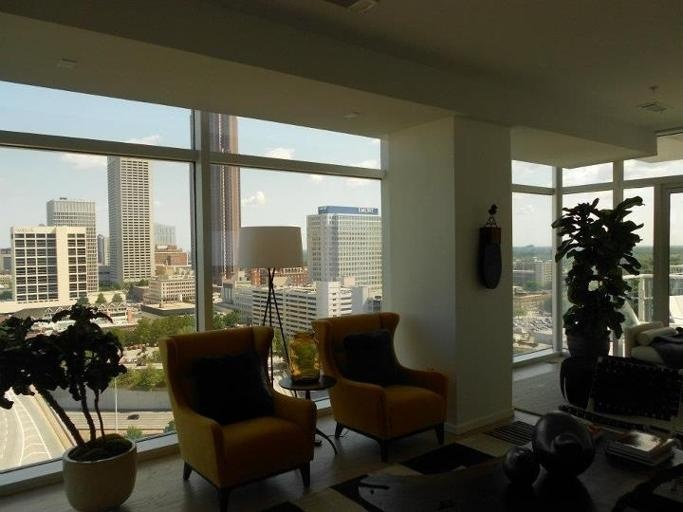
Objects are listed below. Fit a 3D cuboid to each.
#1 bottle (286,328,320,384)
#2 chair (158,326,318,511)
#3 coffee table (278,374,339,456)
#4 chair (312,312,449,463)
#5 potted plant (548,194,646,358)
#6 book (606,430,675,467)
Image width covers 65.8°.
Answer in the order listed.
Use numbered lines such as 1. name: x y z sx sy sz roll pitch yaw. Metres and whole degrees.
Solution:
1. bottle: -0.296 0.821 4.363 0.282 0.422 0.286 -1 6 0
2. chair: -0.685 1.219 4.351 1.181 1.478 1.147 3 -13 -38
3. coffee table: -0.254 1.271 4.253 0.454 0.582 0.453 4 -23 -11
4. chair: 0.334 1.122 4.794 0.944 1.107 1.002 0 -2 -32
5. potted plant: 2.938 0.244 6.082 0.903 1.828 1.467 2 6 30
6. book: 1.840 1.195 3.277 0.218 0.068 0.215 -6 1 -39
